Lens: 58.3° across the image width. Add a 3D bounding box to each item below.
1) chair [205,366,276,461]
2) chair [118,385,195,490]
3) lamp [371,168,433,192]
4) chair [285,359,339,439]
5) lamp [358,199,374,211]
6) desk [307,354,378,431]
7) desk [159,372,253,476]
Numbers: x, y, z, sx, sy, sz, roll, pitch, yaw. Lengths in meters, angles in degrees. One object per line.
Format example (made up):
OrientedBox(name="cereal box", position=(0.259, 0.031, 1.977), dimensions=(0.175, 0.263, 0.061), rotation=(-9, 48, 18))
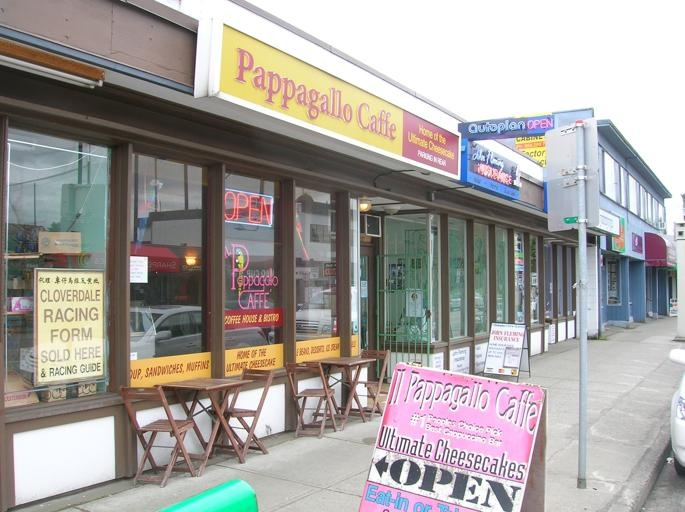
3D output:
OrientedBox(name="chair", position=(-1.158, 1.797, 7.043), dimensions=(0.637, 0.992, 0.730), rotation=(0, -8, 10))
OrientedBox(name="chair", position=(-1.840, 1.798, 6.315), dimensions=(0.602, 0.973, 0.660), rotation=(-3, -4, 14))
OrientedBox(name="lamp", position=(0.968, -1.169, 9.603), dimensions=(0.464, 0.295, 1.169), rotation=(-6, -5, 38))
OrientedBox(name="chair", position=(-0.404, 1.874, 8.119), dimensions=(0.630, 1.266, 0.886), rotation=(-2, -2, 20))
OrientedBox(name="lamp", position=(0.346, -0.837, 10.017), dimensions=(0.183, 0.134, 0.182), rotation=(2, -7, -35))
OrientedBox(name="desk", position=(-0.101, 1.842, 8.658), dimensions=(0.831, 1.047, 0.853), rotation=(0, 3, 34))
OrientedBox(name="desk", position=(-1.492, 1.822, 6.640), dimensions=(0.674, 0.821, 0.667), rotation=(-10, -9, 28))
